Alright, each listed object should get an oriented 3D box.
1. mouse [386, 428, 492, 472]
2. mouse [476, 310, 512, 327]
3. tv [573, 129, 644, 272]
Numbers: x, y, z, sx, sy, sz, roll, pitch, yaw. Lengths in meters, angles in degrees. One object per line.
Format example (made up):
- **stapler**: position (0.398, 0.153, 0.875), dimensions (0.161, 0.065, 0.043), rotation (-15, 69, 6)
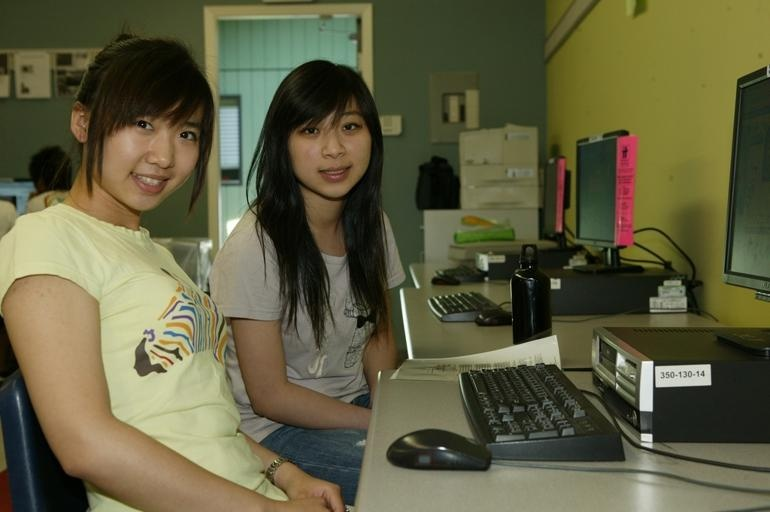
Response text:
- **mouse**: position (0.105, 0.383, 1.258), dimensions (0.158, 0.043, 0.087), rotation (-1, 1, -1)
- **mouse**: position (0.365, 0.208, 2.141), dimensions (0.078, 0.026, 0.056), rotation (-4, 11, -8)
- **tv**: position (0.842, -0.214, 2.436), dimensions (0.173, 0.492, 0.450), rotation (0, 6, 7)
